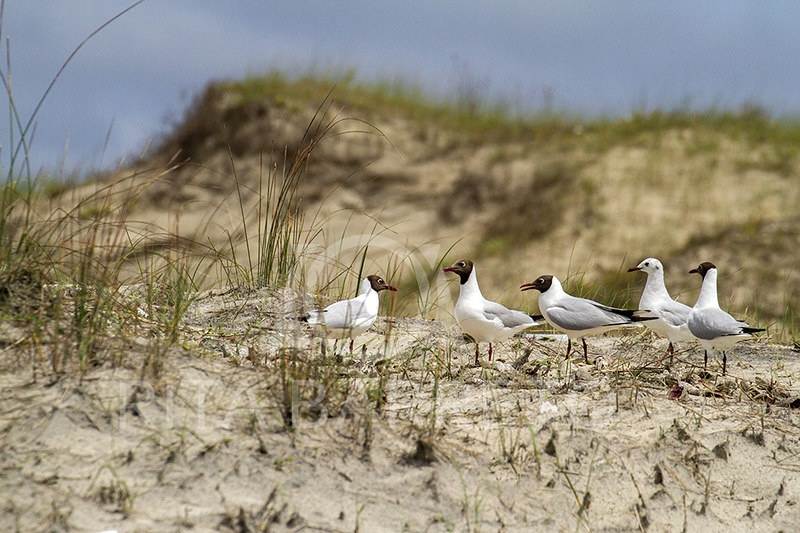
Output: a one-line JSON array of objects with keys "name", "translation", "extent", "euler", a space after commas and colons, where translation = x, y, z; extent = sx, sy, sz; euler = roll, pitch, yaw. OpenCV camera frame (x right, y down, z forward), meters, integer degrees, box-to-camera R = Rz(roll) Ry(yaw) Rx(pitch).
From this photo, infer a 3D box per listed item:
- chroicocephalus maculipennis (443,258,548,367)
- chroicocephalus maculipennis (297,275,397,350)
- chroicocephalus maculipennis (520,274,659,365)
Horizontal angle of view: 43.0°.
[{"name": "chroicocephalus maculipennis", "translation": [0.933, 0.487, 10.000], "extent": [1.125, 1.087, 0.540], "euler": [3, -6, -21]}, {"name": "chroicocephalus maculipennis", "translation": [-0.524, 0.467, 9.771], "extent": [0.964, 0.760, 0.408], "euler": [-1, 2, -29]}, {"name": "chroicocephalus maculipennis", "translation": [1.917, 0.428, 10.273], "extent": [1.711, 1.090, 0.593], "euler": [0, -6, 16]}]
